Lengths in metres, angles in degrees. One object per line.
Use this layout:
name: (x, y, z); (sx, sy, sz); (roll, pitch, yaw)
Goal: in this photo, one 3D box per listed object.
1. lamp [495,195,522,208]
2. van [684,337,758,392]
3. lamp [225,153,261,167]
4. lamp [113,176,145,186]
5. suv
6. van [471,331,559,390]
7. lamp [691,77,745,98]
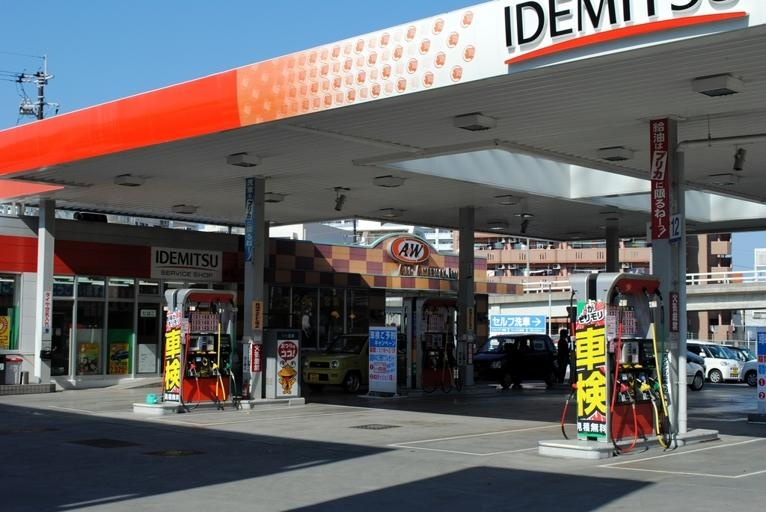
lamp: (3.666, -1.659, 23.215); (0.739, 0.199, 0.596); (-2, -8, 8)
van: (14.551, 4.574, 33.671); (3.434, 1.544, 2.139); (-6, -8, 39)
lamp: (-3.200, -2.193, 18.103); (0.376, 0.162, 0.398); (-2, -5, 38)
lamp: (-6.617, -1.957, 20.590); (0.359, 0.123, 0.394); (-2, -5, 43)
suv: (-1.289, 3.221, 23.843); (1.366, 1.090, 2.224); (-7, -11, 36)
van: (4.498, 3.564, 27.324); (3.042, 1.448, 1.667); (8, -11, -40)
lamp: (5.569, -2.861, 13.299); (0.444, 0.164, 0.410); (9, -12, -38)
